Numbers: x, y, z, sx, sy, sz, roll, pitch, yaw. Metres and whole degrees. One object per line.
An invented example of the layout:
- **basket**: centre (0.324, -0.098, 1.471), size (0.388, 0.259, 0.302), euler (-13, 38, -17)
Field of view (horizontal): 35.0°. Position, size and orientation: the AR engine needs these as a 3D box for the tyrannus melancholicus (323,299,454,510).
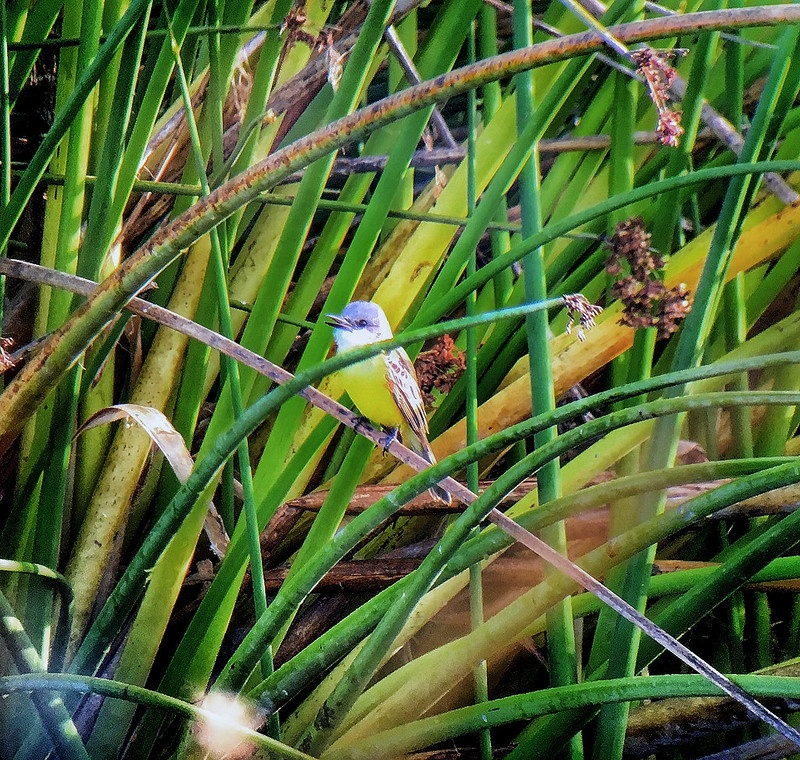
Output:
- **tyrannus melancholicus**: centre (-0.020, 0.039, 2.059), size (0.106, 0.296, 0.282), euler (-28, 49, -34)
